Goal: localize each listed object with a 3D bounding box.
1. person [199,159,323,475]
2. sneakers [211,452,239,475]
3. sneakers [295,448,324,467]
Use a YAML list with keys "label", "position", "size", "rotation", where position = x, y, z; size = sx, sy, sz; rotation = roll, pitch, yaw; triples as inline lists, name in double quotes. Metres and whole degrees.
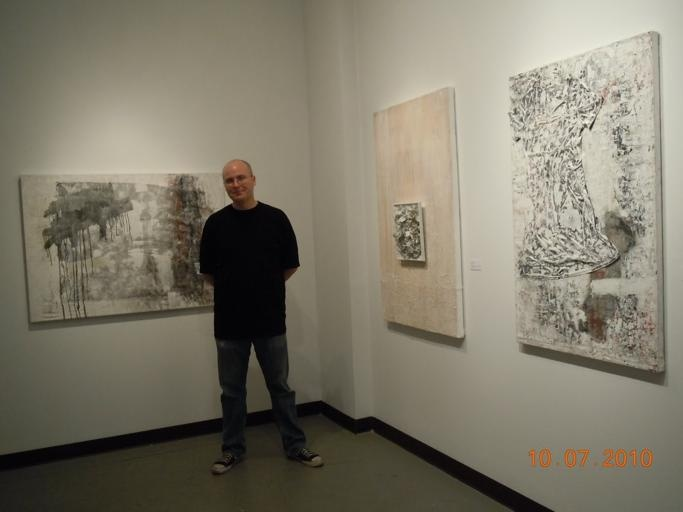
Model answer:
- label: "person"
  position: [-0.639, 0.425, 3.575]
  size: [0.729, 2.212, 0.417]
  rotation: [-4, 5, -13]
- label: "sneakers"
  position: [-0.855, 1.512, 3.604]
  size: [0.080, 0.095, 0.230]
  rotation: [10, -10, 21]
- label: "sneakers"
  position: [-0.239, 1.475, 3.633]
  size: [0.226, 0.097, 0.088]
  rotation: [-3, -3, 43]
